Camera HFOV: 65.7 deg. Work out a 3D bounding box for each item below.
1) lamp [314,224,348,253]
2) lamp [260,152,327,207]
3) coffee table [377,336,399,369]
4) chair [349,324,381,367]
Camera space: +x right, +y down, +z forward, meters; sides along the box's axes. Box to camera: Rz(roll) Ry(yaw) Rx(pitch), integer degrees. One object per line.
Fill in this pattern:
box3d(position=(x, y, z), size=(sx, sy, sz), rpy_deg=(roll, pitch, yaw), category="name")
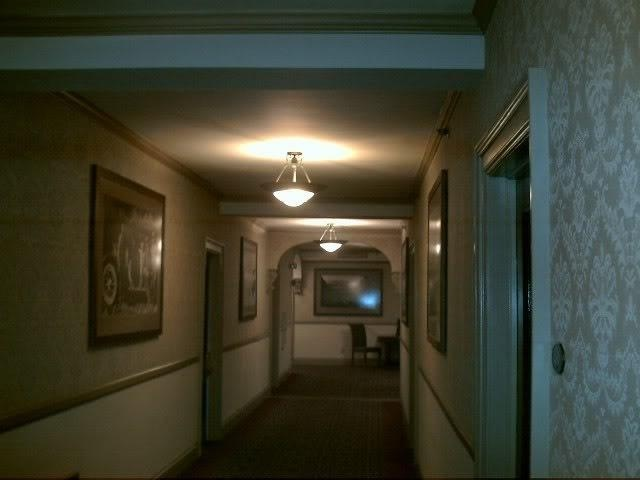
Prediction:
box3d(position=(0.092, 0.000, 4.312), size=(0.226, 0.247, 0.227), rpy_deg=(0, -8, -1), category="lamp")
box3d(position=(-0.124, -0.255, 2.212), size=(0.195, 0.223, 0.209), rpy_deg=(0, -5, 0), category="lamp")
box3d(position=(0.892, 1.452, 6.499), size=(0.276, 0.326, 0.766), rpy_deg=(0, -4, 5), category="coffee table")
box3d(position=(0.602, 1.387, 6.750), size=(0.409, 0.466, 0.446), rpy_deg=(1, -4, 1), category="chair")
